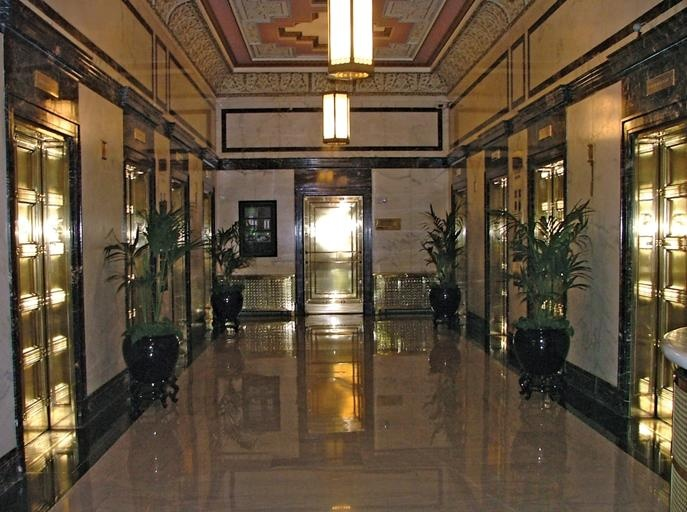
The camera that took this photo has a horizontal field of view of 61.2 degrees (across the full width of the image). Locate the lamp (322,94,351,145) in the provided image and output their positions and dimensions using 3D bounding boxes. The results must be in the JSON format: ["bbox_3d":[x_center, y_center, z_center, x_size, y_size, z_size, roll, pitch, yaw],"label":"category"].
[{"bbox_3d":[-0.106,-2.147,9.073,0.407,0.749,0.466,-1,5,-5],"label":"lamp"}]

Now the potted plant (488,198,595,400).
[{"bbox_3d":[2.372,0.555,6.956,1.127,2.214,1.203,2,-2,-33],"label":"potted plant"}]

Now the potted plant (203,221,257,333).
[{"bbox_3d":[-2.243,0.428,10.979,0.947,1.989,0.880,1,6,35],"label":"potted plant"}]

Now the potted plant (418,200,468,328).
[{"bbox_3d":[1.985,0.134,11.685,0.830,2.267,2.125,0,6,8],"label":"potted plant"}]

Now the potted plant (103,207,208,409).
[{"bbox_3d":[-2.411,0.506,7.467,1.015,2.334,2.031,-2,6,-12],"label":"potted plant"}]
